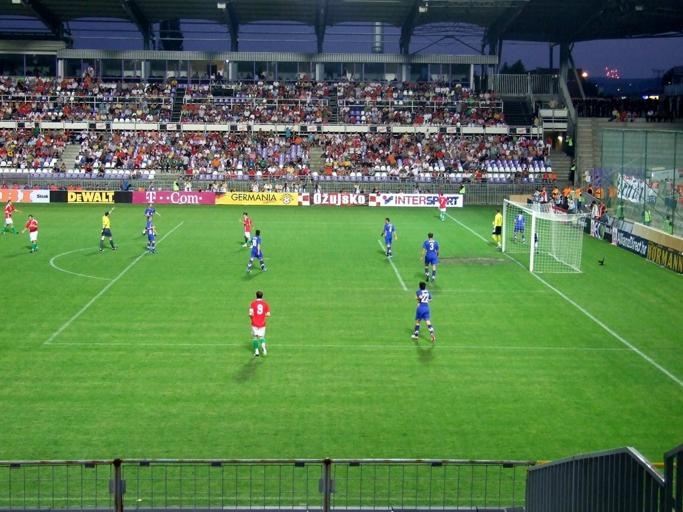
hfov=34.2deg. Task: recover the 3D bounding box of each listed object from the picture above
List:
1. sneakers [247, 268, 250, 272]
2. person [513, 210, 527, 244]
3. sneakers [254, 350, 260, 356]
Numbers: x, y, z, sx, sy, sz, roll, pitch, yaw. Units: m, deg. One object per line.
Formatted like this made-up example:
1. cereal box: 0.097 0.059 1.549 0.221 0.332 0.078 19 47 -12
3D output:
1. sneakers: -4.552 0.721 53.849 0.243 0.194 0.402 -3 9 -8
2. person: 9.792 -1.542 61.544 0.586 1.575 2.618 0 9 9
3. sneakers: -3.401 3.930 44.069 0.168 0.248 0.076 -1 -3 3
